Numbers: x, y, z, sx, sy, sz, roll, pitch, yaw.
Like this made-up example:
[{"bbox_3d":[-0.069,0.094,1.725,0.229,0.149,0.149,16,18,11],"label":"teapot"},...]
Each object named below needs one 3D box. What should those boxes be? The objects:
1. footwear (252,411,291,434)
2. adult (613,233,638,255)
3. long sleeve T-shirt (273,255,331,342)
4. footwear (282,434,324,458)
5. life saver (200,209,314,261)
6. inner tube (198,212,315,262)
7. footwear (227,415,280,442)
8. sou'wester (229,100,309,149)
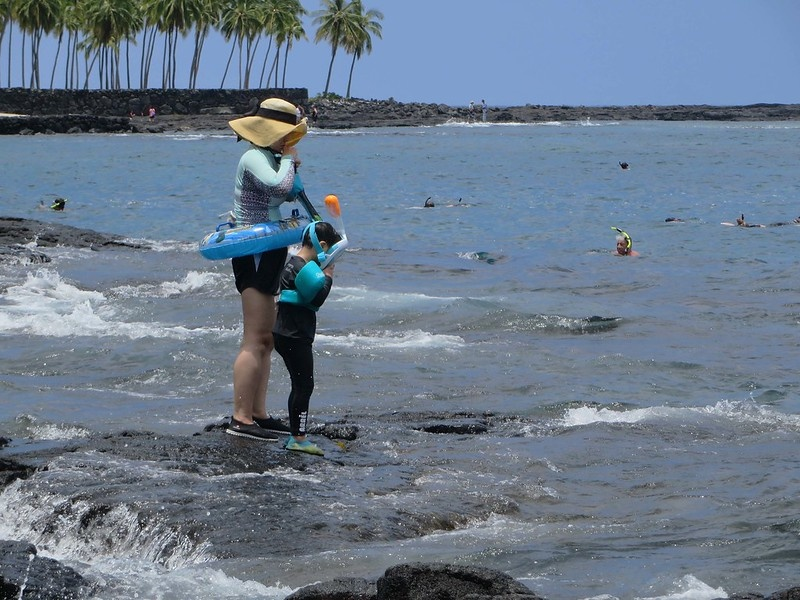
[{"bbox_3d":[-1.566,1.464,18.420,0.551,0.150,0.160,15,9,-15],"label":"footwear"},{"bbox_3d":[4.392,-1.040,29.875,0.439,0.402,0.710,5,9,7],"label":"adult"},{"bbox_3d":[-1.120,0.002,18.004,0.635,0.959,0.342,6,11,7],"label":"long sleeve T-shirt"},{"bbox_3d":[-1.128,1.710,18.206,0.485,0.130,0.210,6,2,-9],"label":"footwear"},{"bbox_3d":[-1.760,-0.676,18.270,1.135,0.212,1.000,-12,3,-17],"label":"life saver"},{"bbox_3d":[-1.754,-0.762,18.299,1.196,0.222,1.100,7,-7,-33],"label":"inner tube"},{"bbox_3d":[-1.729,1.526,18.293,0.728,0.199,0.226,9,-4,-3],"label":"footwear"},{"bbox_3d":[-1.490,-2.012,18.151,0.846,0.324,0.655,15,16,-7],"label":"sou'wester"}]
